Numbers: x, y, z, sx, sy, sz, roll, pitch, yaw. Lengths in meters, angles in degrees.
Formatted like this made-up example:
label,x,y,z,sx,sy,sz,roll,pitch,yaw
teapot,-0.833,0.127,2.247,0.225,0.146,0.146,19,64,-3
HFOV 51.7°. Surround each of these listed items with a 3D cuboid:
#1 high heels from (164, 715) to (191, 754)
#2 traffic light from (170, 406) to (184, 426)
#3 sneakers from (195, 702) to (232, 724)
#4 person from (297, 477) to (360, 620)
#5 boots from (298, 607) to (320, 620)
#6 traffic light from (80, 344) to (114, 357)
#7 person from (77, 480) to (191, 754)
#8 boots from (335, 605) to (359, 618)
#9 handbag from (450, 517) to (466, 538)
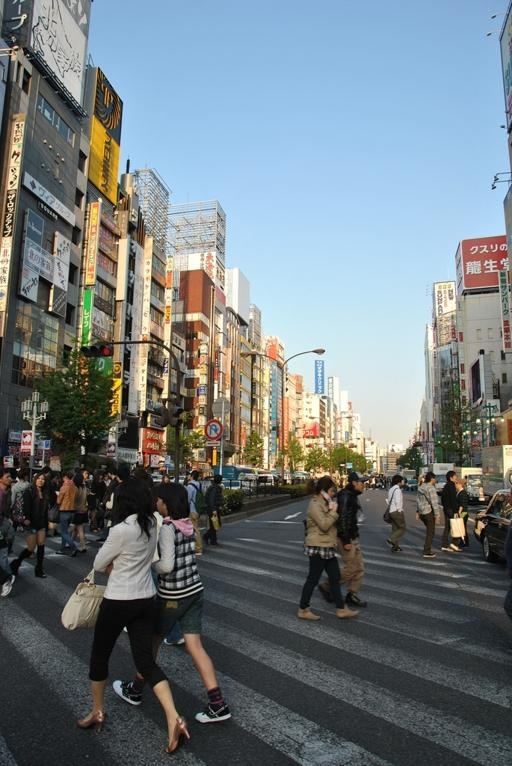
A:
label,x,y,z,sx,sy,sz,roll,pitch,yaw
high heels,-0.411,1.835,2.754,0.116,0.158,0.107,4,-8,-25
traffic light,-2.140,0.892,14.424,0.322,0.575,0.768,1,-7,-9
sneakers,-0.245,1.982,3.177,0.223,0.115,0.092,0,-19,3
person,0.837,1.987,6.387,0.688,1.716,1.080,-1,-7,10
boots,0.614,2.686,6.176,0.272,0.210,0.113,-2,-2,1
traffic light,-4.549,-0.982,15.086,0.798,0.431,1.017,3,-8,-18
person,-0.684,1.265,2.958,0.628,1.431,0.442,1,-7,-5
boots,1.092,2.715,6.333,0.271,0.215,0.129,-5,-7,1
handbag,5.087,3.674,13.336,0.314,0.548,0.523,-3,-8,26
